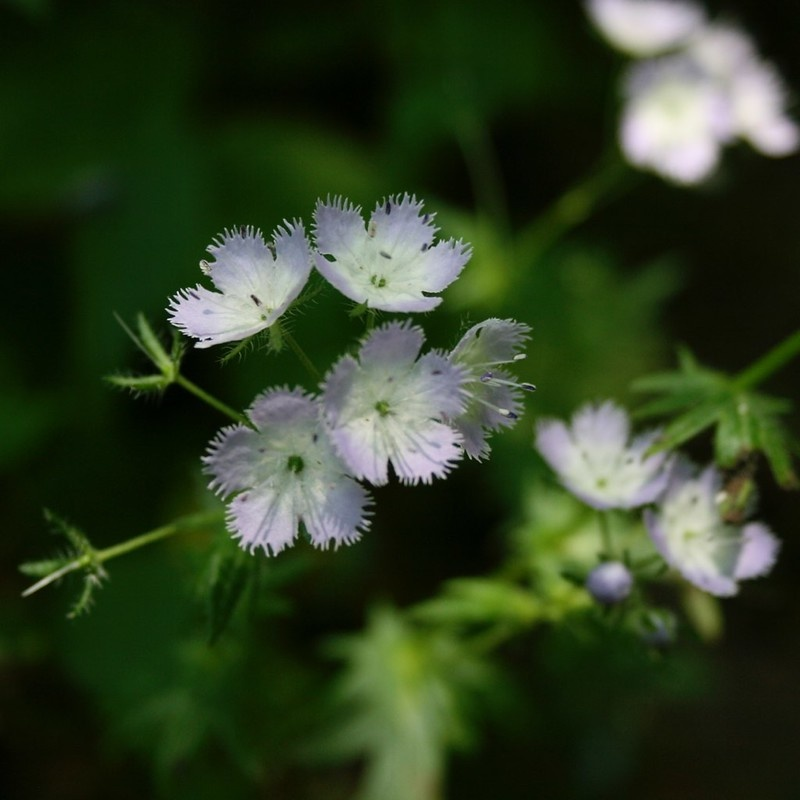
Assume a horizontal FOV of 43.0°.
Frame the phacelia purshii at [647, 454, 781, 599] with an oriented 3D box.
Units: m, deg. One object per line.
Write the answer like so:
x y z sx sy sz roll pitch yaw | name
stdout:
0.664 0.315 2.291 0.339 0.328 0.143 11 -14 19 | phacelia purshii

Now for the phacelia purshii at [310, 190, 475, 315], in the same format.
-0.032 -0.287 2.043 0.264 0.266 0.113 39 -19 -1 | phacelia purshii

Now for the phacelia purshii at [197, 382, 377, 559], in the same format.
-0.231 0.122 1.997 0.092 0.283 0.287 25 -66 -38 | phacelia purshii

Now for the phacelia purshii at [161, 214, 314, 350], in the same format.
-0.298 -0.253 2.114 0.257 0.120 0.237 -19 -6 33 | phacelia purshii

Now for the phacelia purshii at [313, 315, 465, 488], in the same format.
-0.010 0.015 1.984 0.284 0.207 0.256 -16 -44 0 | phacelia purshii
